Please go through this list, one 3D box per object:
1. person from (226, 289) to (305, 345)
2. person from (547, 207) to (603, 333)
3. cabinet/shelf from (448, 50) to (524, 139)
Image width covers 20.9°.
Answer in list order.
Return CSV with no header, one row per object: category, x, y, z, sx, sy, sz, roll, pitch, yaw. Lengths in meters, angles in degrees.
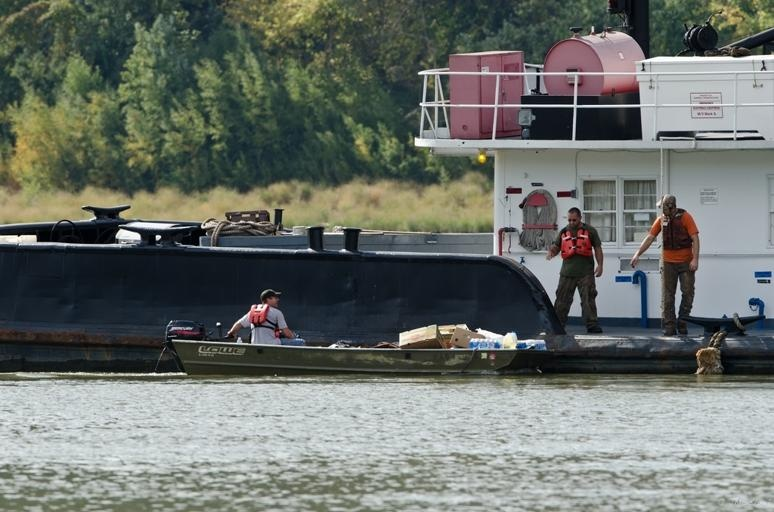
person,-3.475,1.728,58.001,1.634,1.483,0.403,0,0,-3
person,5.304,0.414,58.820,1.378,3.403,1.122,0,0,9
cabinet/shelf,2.754,-4.467,59.417,2.391,2.427,1.447,-4,7,-42
